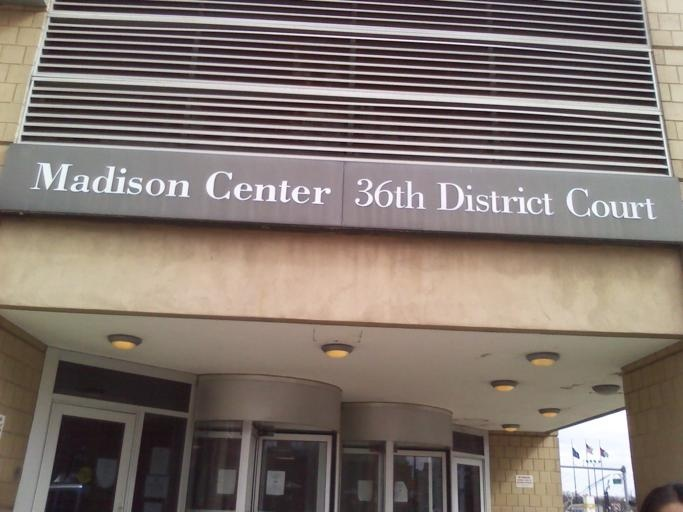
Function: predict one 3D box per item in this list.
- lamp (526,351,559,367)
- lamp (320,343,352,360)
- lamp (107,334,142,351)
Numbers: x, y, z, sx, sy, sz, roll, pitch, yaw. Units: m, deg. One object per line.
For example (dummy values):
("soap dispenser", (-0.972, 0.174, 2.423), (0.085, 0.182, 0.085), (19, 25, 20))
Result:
("lamp", (2.363, 1.199, 8.337), (0.382, 0.110, 0.308), (-6, -26, 13))
("lamp", (-0.060, 1.113, 8.367), (0.397, 0.110, 0.290), (-1, -25, 4))
("lamp", (-2.553, 1.038, 8.367), (0.398, 0.102, 0.492), (8, -26, -15))
